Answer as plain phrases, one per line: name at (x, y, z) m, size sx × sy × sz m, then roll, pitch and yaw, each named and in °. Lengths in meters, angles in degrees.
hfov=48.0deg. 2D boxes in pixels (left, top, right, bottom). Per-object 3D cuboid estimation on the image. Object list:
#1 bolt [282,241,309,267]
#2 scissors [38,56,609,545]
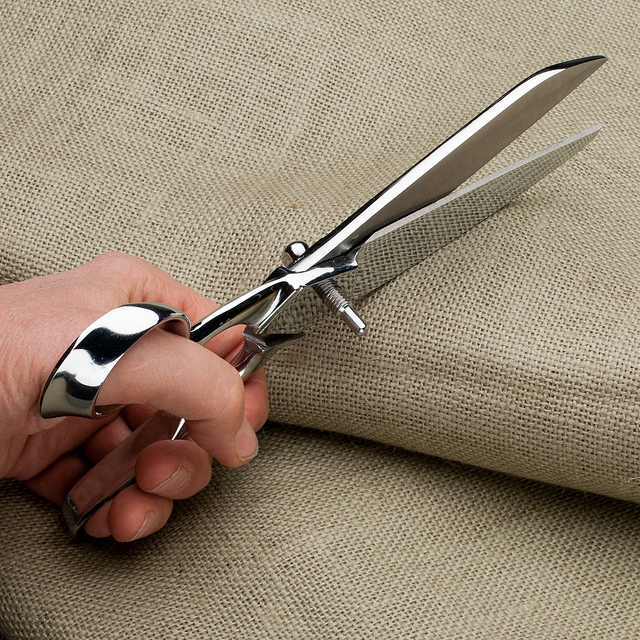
bolt at (-0.023, -0.055, 0.607) m, size 0.017 × 0.025 × 0.008 m, roll 56°, pitch 12°, yaw 29°
scissors at (0.001, -0.002, 0.654) m, size 0.187 × 0.785 × 0.118 m, roll 60°, pitch -6°, yaw 46°
